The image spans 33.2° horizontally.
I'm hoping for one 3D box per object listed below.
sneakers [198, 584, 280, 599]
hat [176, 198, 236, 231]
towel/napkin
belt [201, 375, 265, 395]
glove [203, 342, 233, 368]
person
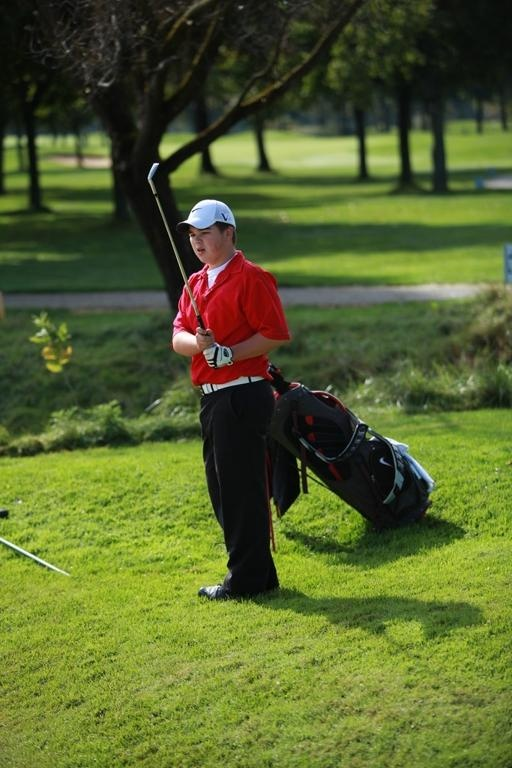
[{"bbox_3d":[-0.079,0.924,3.790,0.333,0.089,0.116,-2,-4,23],"label":"sneakers"},{"bbox_3d":[-0.191,-0.670,3.424,0.187,0.086,0.126,1,8,-33],"label":"hat"},{"bbox_3d":[0.827,0.399,4.527,0.159,0.180,0.318,-3,48,-14],"label":"towel/napkin"},{"bbox_3d":[-0.129,0.003,3.568,0.309,0.078,0.128,-1,12,27],"label":"belt"},{"bbox_3d":[-0.142,-0.101,3.319,0.082,0.103,0.056,-28,-15,11],"label":"glove"},{"bbox_3d":[-0.093,0.097,3.610,0.477,1.718,0.551,-12,12,-18],"label":"person"}]
